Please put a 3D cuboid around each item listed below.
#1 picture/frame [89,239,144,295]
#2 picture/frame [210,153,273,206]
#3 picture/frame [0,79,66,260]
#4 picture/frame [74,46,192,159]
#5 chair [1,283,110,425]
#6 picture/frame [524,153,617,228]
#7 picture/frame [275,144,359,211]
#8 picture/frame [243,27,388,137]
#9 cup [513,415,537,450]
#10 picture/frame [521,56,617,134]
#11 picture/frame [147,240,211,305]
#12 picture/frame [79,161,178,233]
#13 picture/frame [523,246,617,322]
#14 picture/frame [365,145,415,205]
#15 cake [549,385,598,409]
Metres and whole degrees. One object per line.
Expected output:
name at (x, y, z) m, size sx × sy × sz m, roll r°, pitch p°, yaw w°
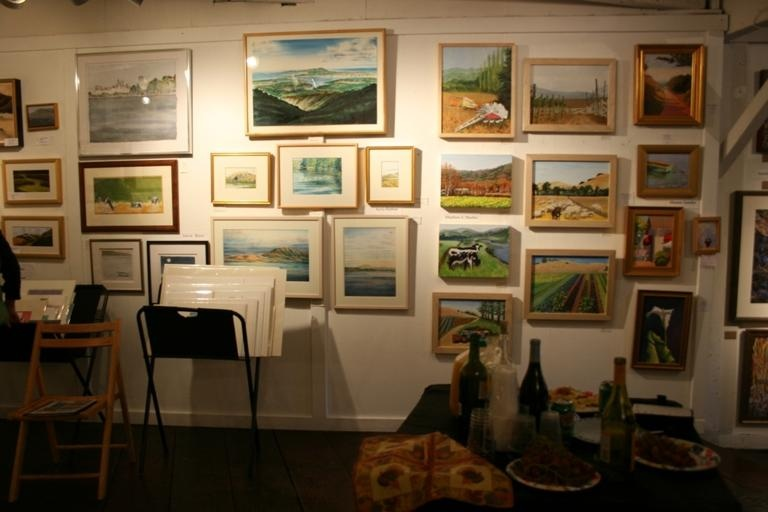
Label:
picture/frame at (-2.573, 0.098, 5.847) m, size 0.583 × 0.560 × 0.041 m, roll 0°, pitch 1°, yaw 5°
picture/frame at (-1.313, -0.768, 5.671) m, size 0.531 × 0.424 × 0.040 m, roll 0°, pitch 1°, yaw 2°
picture/frame at (-3.496, -0.877, 5.900) m, size 0.682 × 1.815 × 0.167 m, roll 1°, pitch 7°, yaw 15°
picture/frame at (-2.356, -1.559, 5.759) m, size 1.166 × 0.941 × 0.085 m, roll 0°, pitch 5°, yaw 7°
chair at (-3.037, 0.867, 5.966) m, size 1.111 × 1.454 × 1.100 m, roll 1°, pitch -8°, yaw 6°
picture/frame at (1.767, -0.638, 5.477) m, size 0.720 × 0.572 × 0.028 m, roll -1°, pitch 3°, yaw 5°
picture/frame at (-0.579, -0.784, 5.614) m, size 0.669 × 0.491 × 0.027 m, roll 0°, pitch 1°, yaw 2°
picture/frame at (-0.565, -1.707, 5.581) m, size 1.100 × 0.754 × 0.039 m, roll 0°, pitch 0°, yaw 4°
cup at (0.862, 1.075, 3.576) m, size 0.169 × 0.184 × 0.188 m, roll 1°, pitch -2°, yaw 1°
picture/frame at (1.746, -1.530, 5.457) m, size 0.756 × 0.582 × 0.031 m, roll 0°, pitch 4°, yaw 3°
picture/frame at (-1.858, 0.134, 5.527) m, size 0.659 × 0.637 × 0.024 m, roll 1°, pitch -1°, yaw 8°
picture/frame at (-2.428, -0.616, 5.808) m, size 0.756 × 0.512 × 0.035 m, roll 0°, pitch 2°, yaw 2°
picture/frame at (1.772, 0.244, 5.514) m, size 0.727 × 0.577 × 0.049 m, roll 1°, pitch 1°, yaw -1°
picture/frame at (0.090, -0.792, 5.556) m, size 0.570 × 0.588 × 0.059 m, roll 0°, pitch 4°, yaw 4°
cake at (1.321, 0.988, 4.048) m, size 0.226 × 0.074 × 0.175 m, roll 3°, pitch 4°, yaw 28°
